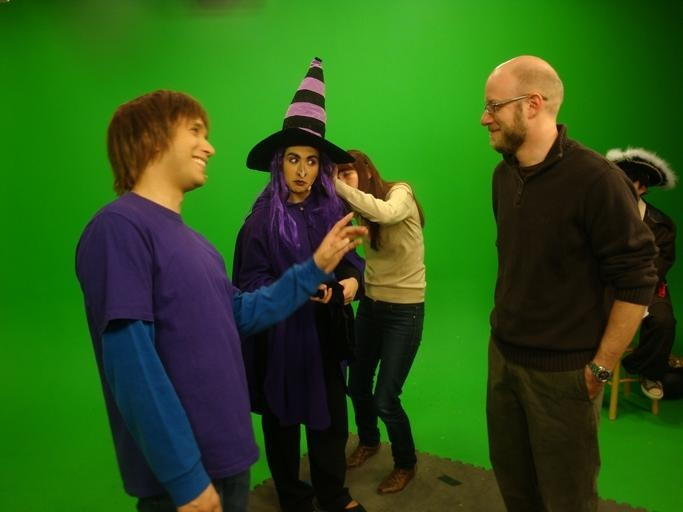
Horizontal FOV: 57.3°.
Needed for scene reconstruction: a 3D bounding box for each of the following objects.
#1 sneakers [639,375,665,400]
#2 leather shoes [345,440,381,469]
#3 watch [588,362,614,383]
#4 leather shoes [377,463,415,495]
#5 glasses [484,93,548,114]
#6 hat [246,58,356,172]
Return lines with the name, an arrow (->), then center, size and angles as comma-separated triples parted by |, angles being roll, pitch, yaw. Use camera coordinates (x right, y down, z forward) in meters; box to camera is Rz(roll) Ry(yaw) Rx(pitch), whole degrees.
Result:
sneakers -> 2.367, 1.002, 4.748 | 0.087, 0.105, 0.252 | -2, -2, 10
leather shoes -> 0.134, 1.297, 4.118 | 0.259, 0.106, 0.085 | -14, -3, -45
watch -> 1.204, 0.535, 2.893 | 0.100, 0.072, 0.098 | 19, -3, 12
leather shoes -> 0.334, 1.355, 3.837 | 0.238, 0.103, 0.101 | -8, 6, -42
glasses -> 0.814, -0.754, 3.083 | 0.158, 0.049, 0.130 | -18, 5, 15
hat -> -0.211, -0.812, 3.693 | 0.591, 0.724, 0.592 | 11, -2, -30
